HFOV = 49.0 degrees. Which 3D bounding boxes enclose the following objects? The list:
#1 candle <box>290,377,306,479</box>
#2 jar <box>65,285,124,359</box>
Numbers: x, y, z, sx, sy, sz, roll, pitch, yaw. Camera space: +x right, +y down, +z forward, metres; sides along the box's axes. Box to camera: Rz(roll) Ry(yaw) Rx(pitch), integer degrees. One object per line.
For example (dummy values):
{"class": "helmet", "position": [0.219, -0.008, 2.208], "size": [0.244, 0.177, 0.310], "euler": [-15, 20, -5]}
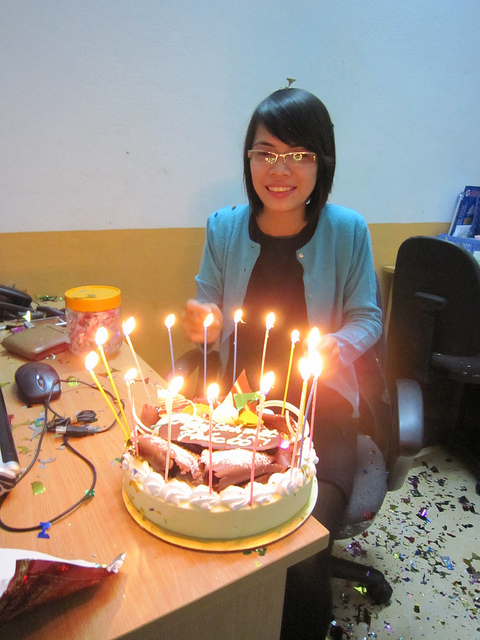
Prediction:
{"class": "candle", "position": [0.091, 0.159, 0.844], "size": [0.032, 0.131, 0.041], "euler": [5, 23, 7]}
{"class": "jar", "position": [-0.377, 0.009, 1.345], "size": [0.145, 0.151, 0.140], "euler": [2, 12, 0]}
